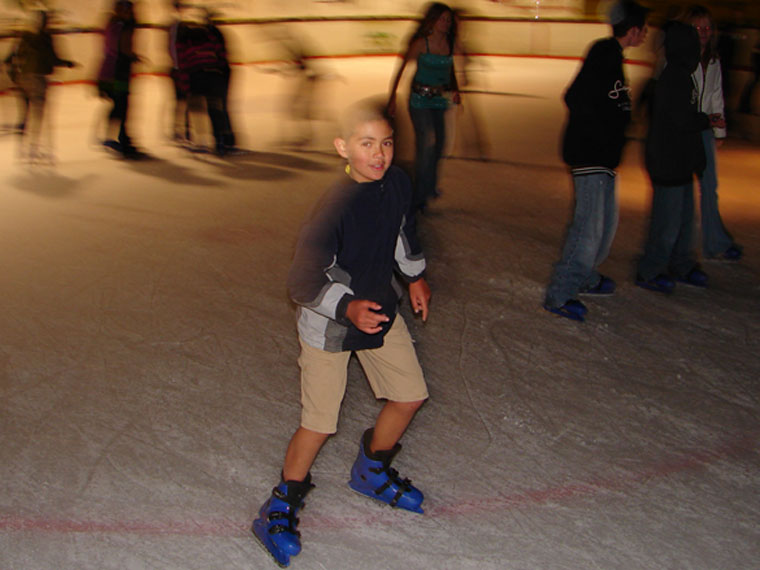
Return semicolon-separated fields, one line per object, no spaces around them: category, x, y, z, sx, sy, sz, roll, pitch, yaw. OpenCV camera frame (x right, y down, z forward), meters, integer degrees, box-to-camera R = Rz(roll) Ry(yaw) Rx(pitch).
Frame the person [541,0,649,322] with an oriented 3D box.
person;1.492;-0.850;4.049;0.429;2.188;0.537;13;22;30

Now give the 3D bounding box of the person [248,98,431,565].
person;-0.131;0.192;2.316;0.856;1.808;0.495;-5;20;-20

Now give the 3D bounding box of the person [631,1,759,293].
person;2.307;-0.943;4.396;0.619;2.002;0.389;-3;19;-13

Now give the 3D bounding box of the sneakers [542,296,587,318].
sneakers;1.366;0.161;4.199;0.257;0.079;0.133;11;33;19
